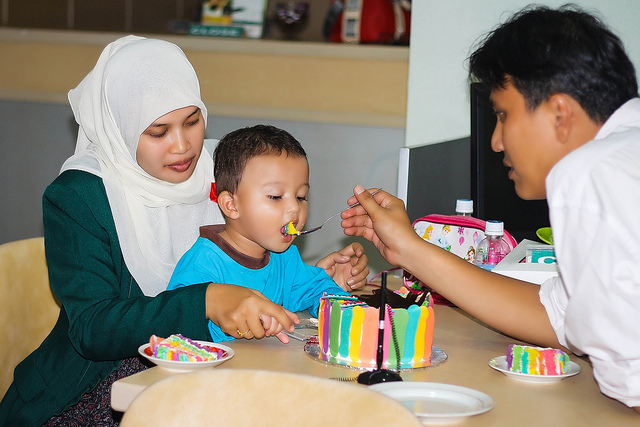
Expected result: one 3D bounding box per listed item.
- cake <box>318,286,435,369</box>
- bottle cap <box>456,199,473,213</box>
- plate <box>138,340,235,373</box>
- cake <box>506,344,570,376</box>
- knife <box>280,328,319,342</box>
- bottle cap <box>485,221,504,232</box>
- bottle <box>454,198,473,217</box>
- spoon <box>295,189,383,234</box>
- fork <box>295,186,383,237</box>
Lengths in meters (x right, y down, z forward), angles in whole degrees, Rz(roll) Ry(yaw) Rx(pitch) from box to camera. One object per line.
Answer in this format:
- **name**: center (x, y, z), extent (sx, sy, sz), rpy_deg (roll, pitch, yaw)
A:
- **cake**: center (0.118, 0.254, 1.193), extent (0.196, 0.131, 0.203), rpy_deg (1, -2, -1)
- **bottle cap**: center (0.472, -0.025, 1.698), extent (0.043, 0.038, 0.043), rpy_deg (-1, 3, -27)
- **plate**: center (-0.280, 0.304, 1.104), extent (0.189, 0.035, 0.190), rpy_deg (8, -1, -25)
- **cake**: center (0.467, 0.310, 1.114), extent (0.084, 0.032, 0.068), rpy_deg (1, 4, 14)
- **knife**: center (-0.050, 0.302, 1.268), extent (0.114, 0.007, 0.035), rpy_deg (12, 21, 36)
- **bottle cap**: center (0.515, 0.038, 1.533), extent (0.033, 0.020, 0.033), rpy_deg (1, 1, -15)
- **bottle**: center (0.474, -0.021, 1.747), extent (0.064, 0.066, 0.066), rpy_deg (1, 2, -3)
- **spoon**: center (0.066, -0.011, 1.915), extent (0.366, 0.033, 0.044), rpy_deg (-35, -23, -2)
- **fork**: center (0.067, -0.012, 1.953), extent (0.404, 0.045, 0.047), rpy_deg (-37, 63, -21)
